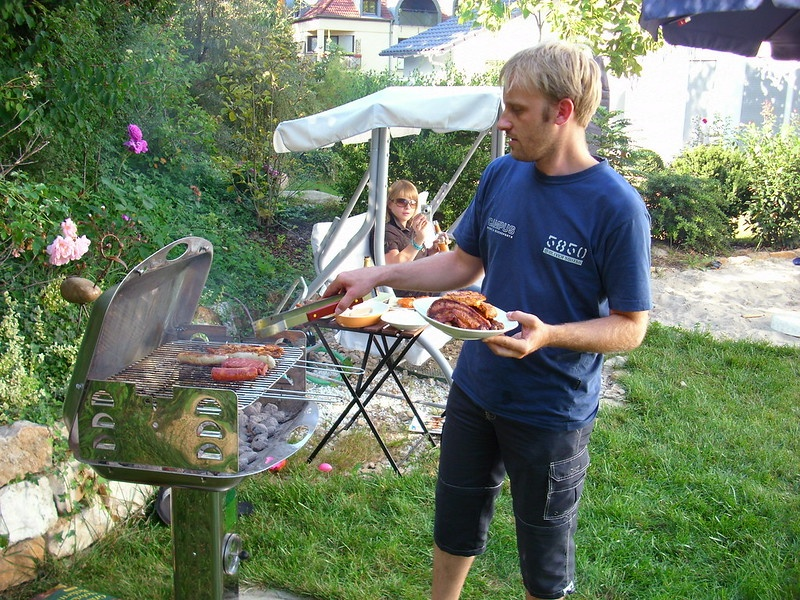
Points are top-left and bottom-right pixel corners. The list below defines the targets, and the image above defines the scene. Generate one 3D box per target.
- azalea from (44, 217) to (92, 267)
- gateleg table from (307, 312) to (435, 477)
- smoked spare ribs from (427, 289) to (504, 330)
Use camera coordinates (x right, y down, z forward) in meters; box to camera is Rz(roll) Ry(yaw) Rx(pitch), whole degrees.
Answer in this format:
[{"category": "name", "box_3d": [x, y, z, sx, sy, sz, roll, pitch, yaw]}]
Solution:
[{"category": "azalea", "box_3d": [-2.061, -0.359, 3.789, 0.194, 0.343, 0.243, 11, 16, 23]}, {"category": "gateleg table", "box_3d": [-0.218, 0.627, 4.919, 0.868, 1.372, 0.820, 4, 13, 18]}, {"category": "smoked spare ribs", "box_3d": [0.268, 0.010, 2.564, 0.244, 0.155, 0.328, 4, 11, 21]}]
